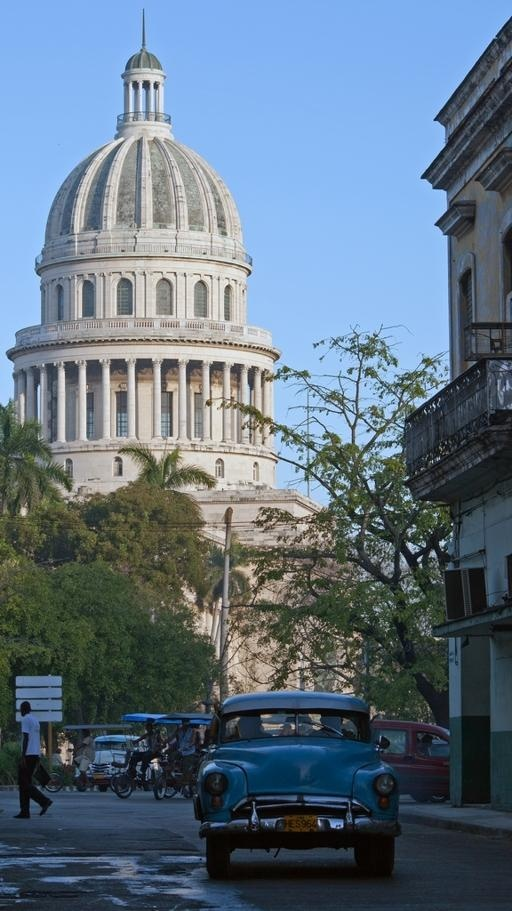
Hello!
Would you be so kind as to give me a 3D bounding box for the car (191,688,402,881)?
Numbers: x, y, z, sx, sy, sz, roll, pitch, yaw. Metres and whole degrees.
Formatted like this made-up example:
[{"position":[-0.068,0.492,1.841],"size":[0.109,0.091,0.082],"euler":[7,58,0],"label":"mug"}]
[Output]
[{"position":[0.285,2.533,16.541],"size":[1.133,1.638,1.706],"euler":[0,-9,-7],"label":"car"}]
